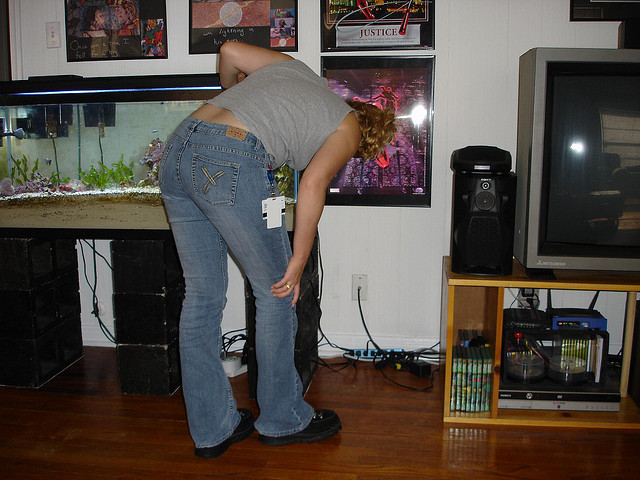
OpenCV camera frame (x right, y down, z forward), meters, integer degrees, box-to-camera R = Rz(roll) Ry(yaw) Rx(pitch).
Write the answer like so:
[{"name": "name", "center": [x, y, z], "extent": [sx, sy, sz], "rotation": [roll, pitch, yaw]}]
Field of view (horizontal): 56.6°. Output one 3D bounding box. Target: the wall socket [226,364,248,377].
[{"name": "wall socket", "center": [-0.442, 0.715, 3.243], "extent": [0.058, 0.037, 0.133], "rotation": [7, 12, 36]}]

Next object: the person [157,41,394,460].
[{"name": "person", "center": [-0.254, 0.115, 2.436], "extent": [0.778, 1.683, 0.356], "rotation": [-1, 8, -11]}]

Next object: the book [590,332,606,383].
[{"name": "book", "center": [1.342, 0.575, 2.880], "extent": [0.063, 0.220, 0.040], "rotation": [8, 10, 43]}]
